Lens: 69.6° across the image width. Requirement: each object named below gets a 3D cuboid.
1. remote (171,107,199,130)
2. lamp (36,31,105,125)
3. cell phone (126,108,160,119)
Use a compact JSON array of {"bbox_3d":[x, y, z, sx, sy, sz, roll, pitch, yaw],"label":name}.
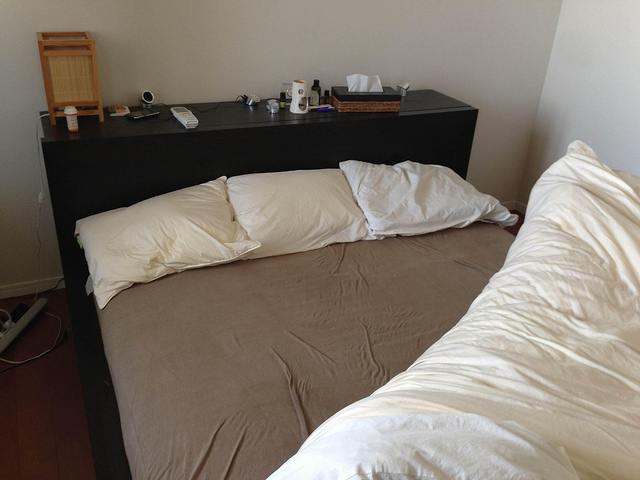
[{"bbox_3d":[-0.779,-0.714,2.654,0.100,0.036,0.203,-9,43,-25],"label":"remote"},{"bbox_3d":[-1.361,-0.881,2.496,0.331,0.586,0.325,-8,34,-15],"label":"lamp"},{"bbox_3d":[-1.047,-0.739,2.707,0.154,0.017,0.091,-18,35,-36],"label":"cell phone"}]
